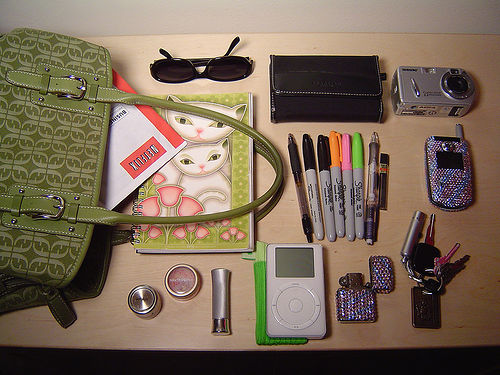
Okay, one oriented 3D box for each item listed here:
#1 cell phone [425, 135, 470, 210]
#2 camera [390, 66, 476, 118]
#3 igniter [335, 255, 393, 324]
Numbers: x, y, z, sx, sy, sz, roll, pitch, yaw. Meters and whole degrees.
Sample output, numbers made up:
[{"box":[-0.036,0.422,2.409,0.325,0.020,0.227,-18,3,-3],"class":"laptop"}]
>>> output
[{"box":[0.479,-0.030,1.063,0.091,0.172,0.039,-3,-11,4],"class":"cell phone"},{"box":[0.465,-0.249,1.119,0.194,0.118,0.070,-1,-25,-2],"class":"camera"},{"box":[0.261,0.235,1.007,0.138,0.131,0.073,-3,17,-4],"class":"igniter"}]
